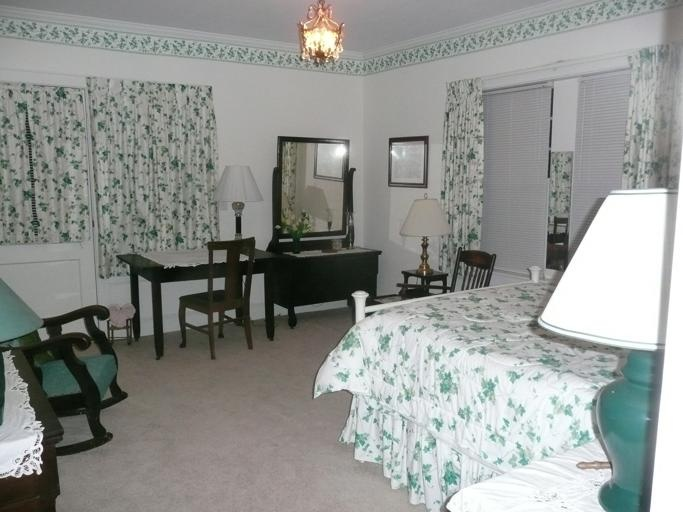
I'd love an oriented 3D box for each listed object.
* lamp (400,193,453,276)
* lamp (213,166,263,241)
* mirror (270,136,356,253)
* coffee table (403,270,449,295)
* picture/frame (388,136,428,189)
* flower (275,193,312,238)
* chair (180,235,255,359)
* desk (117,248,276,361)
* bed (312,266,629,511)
[{"bbox_3d":[0.795,-0.217,4.932,0.446,0.764,0.464,-9,15,-27],"label":"lamp"},{"bbox_3d":[-1.098,-0.565,5.454,0.468,0.755,0.488,-4,12,-19],"label":"lamp"},{"bbox_3d":[-0.368,-0.720,6.040,1.197,1.445,0.447,-4,7,-35],"label":"mirror"},{"bbox_3d":[0.819,0.258,5.198,0.306,0.385,0.346,-2,5,-32],"label":"coffee table"},{"bbox_3d":[0.749,-1.060,5.945,0.512,0.570,0.039,-4,12,-20],"label":"picture/frame"},{"bbox_3d":[-0.528,-0.460,5.935,0.470,0.495,0.123,-9,14,-38],"label":"flower"},{"bbox_3d":[-1.200,0.345,4.999,0.640,1.138,0.670,-3,13,-29],"label":"chair"},{"bbox_3d":[-1.556,0.252,5.198,1.300,0.983,0.983,-6,10,-36],"label":"desk"},{"bbox_3d":[0.805,0.568,2.725,1.151,0.541,1.173,-3,5,-32],"label":"bed"}]
